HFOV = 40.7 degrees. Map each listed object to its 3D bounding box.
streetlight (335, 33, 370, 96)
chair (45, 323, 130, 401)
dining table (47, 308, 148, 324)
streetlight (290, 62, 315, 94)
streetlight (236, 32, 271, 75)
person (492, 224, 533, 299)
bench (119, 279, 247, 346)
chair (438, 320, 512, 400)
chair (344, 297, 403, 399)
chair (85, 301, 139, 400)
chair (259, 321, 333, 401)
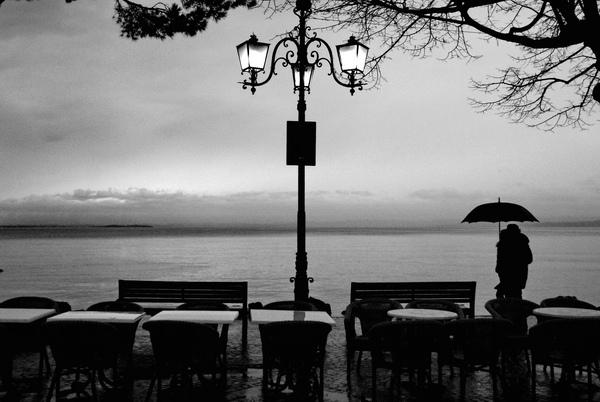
[{"bbox_3d":[1.110,-2.832,17.230,0.539,1.313,0.681,-5,-11,42],"label":"streetlight"},{"bbox_3d":[-3.878,2.857,15.163,1.579,1.988,1.497,2,5,-3],"label":"chair"},{"bbox_3d":[-3.777,2.170,15.255,0.810,0.382,1.337,2,3,2],"label":"dining table"},{"bbox_3d":[0.046,-2.640,17.418,0.570,0.671,0.629,6,17,13],"label":"streetlight"},{"bbox_3d":[-0.993,-3.117,17.127,0.608,0.736,0.541,0,-2,-30],"label":"streetlight"},{"bbox_3d":[5.194,1.735,20.066,1.062,2.383,0.911,2,18,10],"label":"person"},{"bbox_3d":[-2.569,2.469,17.641,2.867,1.371,1.013,1,-10,-7],"label":"bench"},{"bbox_3d":[3.192,2.829,15.283,1.123,1.627,1.133,1,-4,-2],"label":"chair"},{"bbox_3d":[1.808,2.844,16.289,1.049,1.719,1.784,0,-6,-2],"label":"chair"},{"bbox_3d":[-3.513,2.809,15.505,1.165,1.659,1.144,1,-4,-2],"label":"chair"},{"bbox_3d":[-0.085,2.793,14.930,1.085,1.619,1.109,1,-4,-2],"label":"chair"}]
